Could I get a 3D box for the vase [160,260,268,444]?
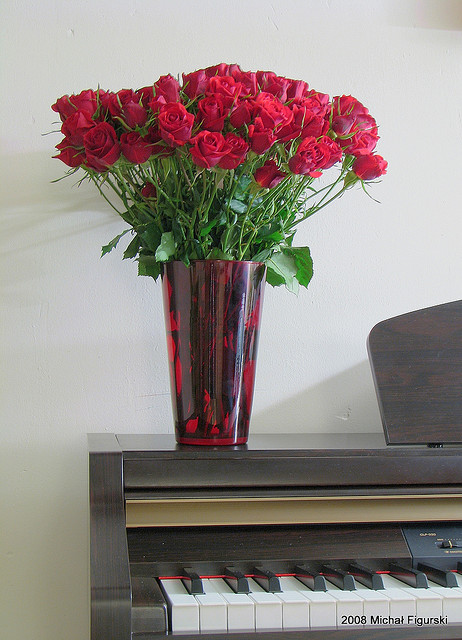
[{"bbox_3d":[-0.021,0.041,0.832,0.145,0.248,0.156,-2,-25,-6],"label":"vase"}]
